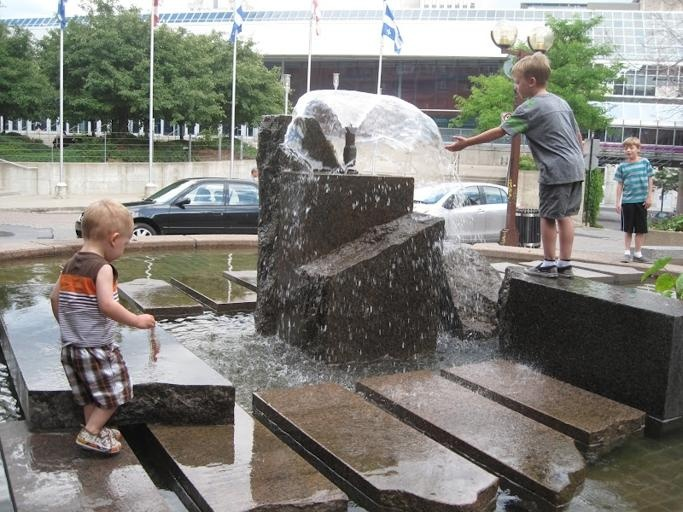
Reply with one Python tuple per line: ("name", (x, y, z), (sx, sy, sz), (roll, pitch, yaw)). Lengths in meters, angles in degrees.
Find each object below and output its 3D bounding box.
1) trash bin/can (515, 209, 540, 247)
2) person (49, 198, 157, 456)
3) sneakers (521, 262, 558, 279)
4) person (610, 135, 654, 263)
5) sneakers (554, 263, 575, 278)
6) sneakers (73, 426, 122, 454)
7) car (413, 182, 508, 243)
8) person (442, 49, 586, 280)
("trash bin/can", (4.282, -0.586, 14.552), (0.634, 0.897, 0.650), (0, 4, 19))
("person", (-1.409, 0.427, 3.850), (0.568, 1.513, 0.359), (2, 8, 23))
("sneakers", (1.794, 0.127, 5.798), (0.133, 0.115, 0.258), (-1, 5, -38))
("person", (4.632, -0.889, 10.206), (0.537, 1.962, 0.865), (2, 8, 24))
("sneakers", (2.015, 0.140, 5.784), (0.081, 0.090, 0.205), (-1, 6, -3))
("sneakers", (-1.432, 1.111, 3.904), (0.310, 0.157, 0.121), (15, -5, -19))
("car", (2.626, -0.924, 15.231), (3.426, 1.512, 1.733), (-1, 2, -34))
("person", (1.741, -0.819, 5.844), (0.860, 2.065, 0.658), (1, 8, 20))
